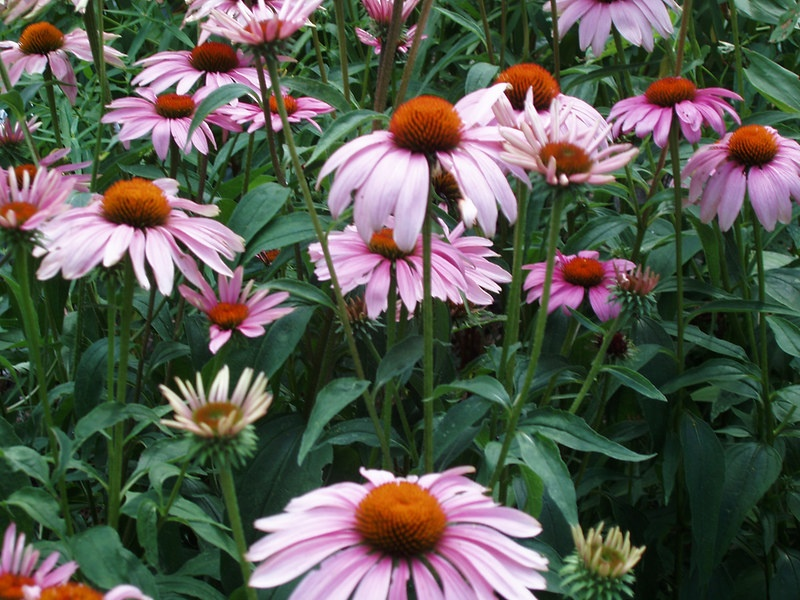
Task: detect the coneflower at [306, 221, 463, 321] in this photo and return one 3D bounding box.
[{"bbox_3d":[-0.015,-0.075,1.893,0.222,0.085,0.268,3,36,-15],"label":"coneflower"}]

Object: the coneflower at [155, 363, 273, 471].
[{"bbox_3d":[-0.319,0.206,1.415,0.189,0.170,0.209,4,0,-3],"label":"coneflower"}]

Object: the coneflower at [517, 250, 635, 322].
[{"bbox_3d":[0.490,-0.044,2.225,0.302,0.206,0.347,4,0,14],"label":"coneflower"}]
